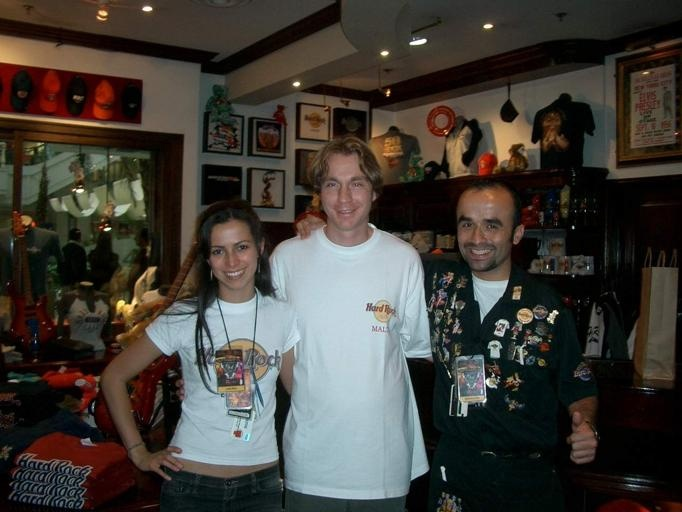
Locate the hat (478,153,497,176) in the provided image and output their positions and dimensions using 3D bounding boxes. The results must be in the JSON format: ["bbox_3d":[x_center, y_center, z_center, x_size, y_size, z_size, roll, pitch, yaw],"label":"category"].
[{"bbox_3d":[1.777,-1.123,6.127,0.210,0.294,0.353,1,5,17],"label":"hat"}]

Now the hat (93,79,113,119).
[{"bbox_3d":[-2.666,-1.746,5.676,0.245,0.412,0.148,-3,13,-36],"label":"hat"}]

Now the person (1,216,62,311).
[{"bbox_3d":[-3.392,0.125,5.548,0.562,1.091,0.263,2,-1,-32],"label":"person"}]

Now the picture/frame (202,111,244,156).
[{"bbox_3d":[-1.545,-1.639,6.648,0.104,0.582,0.641,14,14,36],"label":"picture/frame"}]

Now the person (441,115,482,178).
[{"bbox_3d":[1.557,-1.425,6.587,0.530,0.794,0.464,0,5,12],"label":"person"}]

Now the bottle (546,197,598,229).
[{"bbox_3d":[2.565,-0.456,5.573,0.571,0.386,0.310,-1,4,7],"label":"bottle"}]

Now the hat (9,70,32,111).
[{"bbox_3d":[-3.345,-1.718,5.299,0.250,0.406,0.158,-1,15,-34],"label":"hat"}]

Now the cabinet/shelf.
[{"bbox_3d":[2.525,-0.284,5.968,0.360,1.006,1.102,-1,2,-7],"label":"cabinet/shelf"}]

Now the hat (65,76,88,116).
[{"bbox_3d":[-2.903,-1.752,5.556,0.242,0.405,0.146,-6,15,-42],"label":"hat"}]

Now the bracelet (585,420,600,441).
[{"bbox_3d":[1.039,0.721,2.091,0.039,0.088,0.095,1,5,26],"label":"bracelet"}]

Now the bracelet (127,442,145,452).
[{"bbox_3d":[-0.800,0.739,1.978,0.051,0.013,0.033,-17,1,-8],"label":"bracelet"}]

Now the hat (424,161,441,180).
[{"bbox_3d":[1.248,-1.167,6.965,0.244,0.161,0.328,-22,10,5],"label":"hat"}]

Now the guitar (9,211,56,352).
[{"bbox_3d":[-2.926,0.243,4.720,0.386,1.373,0.170,-7,25,-33],"label":"guitar"}]

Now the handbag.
[{"bbox_3d":[1.772,0.378,2.846,0.203,0.642,0.218,2,5,31],"label":"handbag"}]

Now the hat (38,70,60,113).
[{"bbox_3d":[-3.135,-1.757,5.431,0.245,0.423,0.148,-3,13,-41],"label":"hat"}]

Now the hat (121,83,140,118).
[{"bbox_3d":[-2.421,-1.795,5.823,0.235,0.365,0.104,-7,16,-41],"label":"hat"}]
